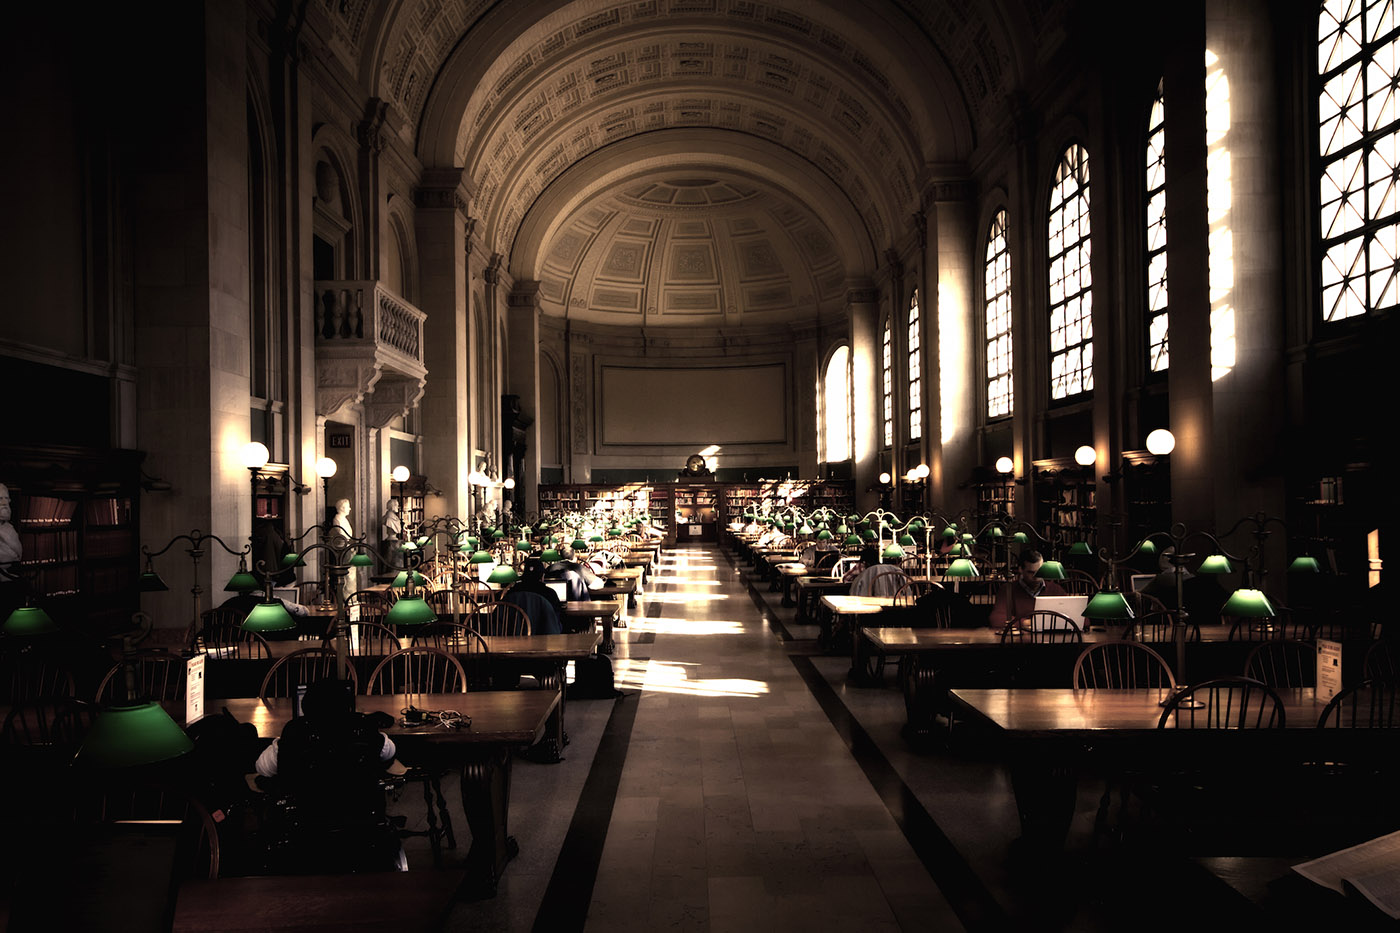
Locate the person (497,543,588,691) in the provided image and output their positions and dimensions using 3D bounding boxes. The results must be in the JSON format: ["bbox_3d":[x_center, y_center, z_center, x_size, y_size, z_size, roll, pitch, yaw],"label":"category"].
[{"bbox_3d":[-1.867,1.639,12.083,1.128,1.818,1.189,0,2,4],"label":"person"}]
